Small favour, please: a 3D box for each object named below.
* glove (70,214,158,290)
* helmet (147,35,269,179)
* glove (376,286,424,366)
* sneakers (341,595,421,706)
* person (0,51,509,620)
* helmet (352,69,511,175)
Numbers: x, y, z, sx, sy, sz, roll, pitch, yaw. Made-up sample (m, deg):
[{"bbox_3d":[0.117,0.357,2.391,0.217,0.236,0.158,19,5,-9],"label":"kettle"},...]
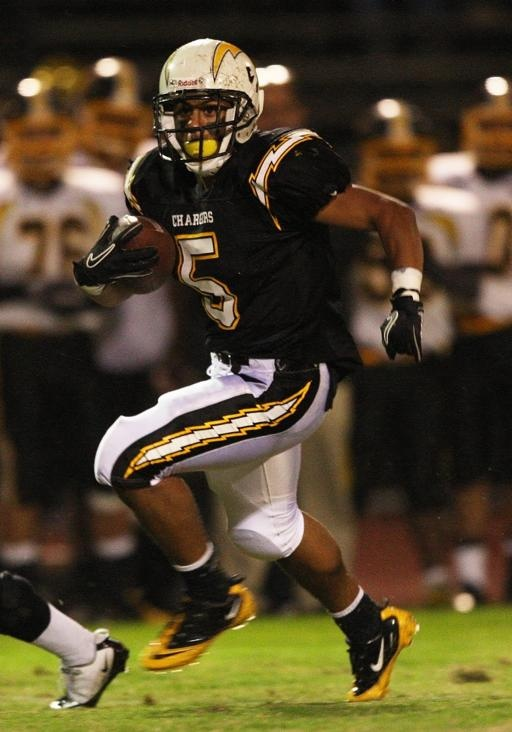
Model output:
[{"bbox_3d":[-0.250,-0.214,1.726,0.189,0.070,0.127,-27,52,11],"label":"glove"},{"bbox_3d":[-0.107,-0.588,1.873,0.227,0.248,0.278,9,26,25],"label":"helmet"},{"bbox_3d":[0.279,-0.081,1.619,0.069,0.118,0.116,13,-7,-15],"label":"glove"},{"bbox_3d":[0.300,0.653,1.991,0.270,0.142,0.095,-53,18,-25],"label":"sneakers"},{"bbox_3d":[-0.046,-0.140,1.801,0.666,1.105,0.397,-8,14,-6],"label":"person"},{"bbox_3d":[0.636,-0.846,3.030,0.490,0.168,0.432,-2,-1,-8],"label":"helmet"}]
